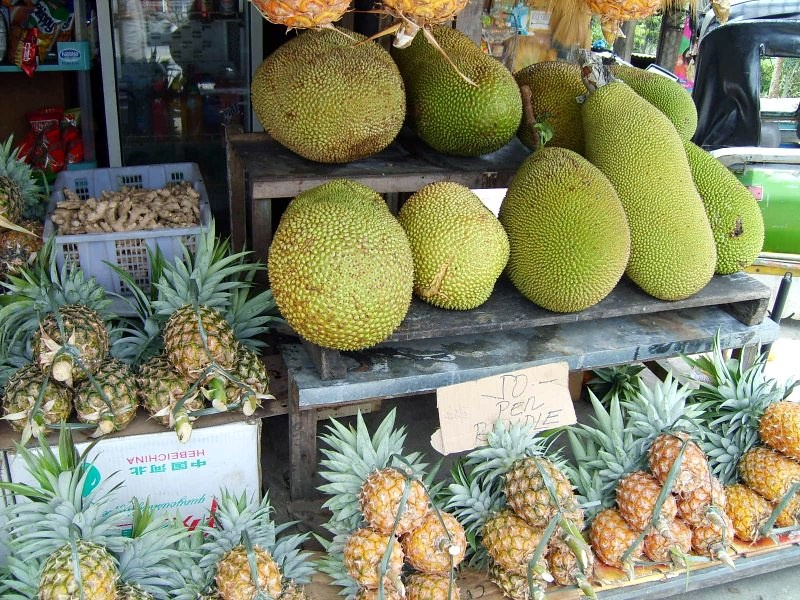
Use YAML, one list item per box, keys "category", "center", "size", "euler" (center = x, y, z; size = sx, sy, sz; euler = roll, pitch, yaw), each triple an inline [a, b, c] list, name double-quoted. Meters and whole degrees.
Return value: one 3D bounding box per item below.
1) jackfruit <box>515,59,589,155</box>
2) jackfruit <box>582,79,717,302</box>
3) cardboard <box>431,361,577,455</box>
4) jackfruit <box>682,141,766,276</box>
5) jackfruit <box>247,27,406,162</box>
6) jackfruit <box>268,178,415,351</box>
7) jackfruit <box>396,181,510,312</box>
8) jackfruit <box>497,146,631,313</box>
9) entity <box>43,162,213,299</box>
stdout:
- category: "jackfruit"
  center: [0.497, -0.636, 2.189]
  size: [0.336, 0.209, 0.287]
  euler: [-4, 1, -14]
- category: "jackfruit"
  center: [0.725, -0.318, 2.045]
  size: [0.284, 0.647, 0.331]
  euler: [-30, -7, 33]
- category: "cardboard"
  center: [0.274, 0.284, 1.746]
  size: [0.317, 0.155, 0.014]
  euler: [-14, 11, -12]
- category: "jackfruit"
  center: [1.011, -0.298, 2.163]
  size: [0.196, 0.420, 0.225]
  euler: [-33, -20, 8]
- category: "jackfruit"
  center: [-0.230, -0.629, 1.952]
  size: [0.516, 0.358, 0.300]
  euler: [5, -21, -24]
- category: "jackfruit"
  center: [-0.156, -0.090, 1.710]
  size: [0.372, 0.341, 0.413]
  euler: [7, 38, -35]
- category: "jackfruit"
  center: [0.093, -0.139, 1.731]
  size: [0.310, 0.268, 0.360]
  euler: [-1, 7, -4]
- category: "jackfruit"
  center: [0.457, -0.197, 1.847]
  size: [0.252, 0.405, 0.312]
  euler: [-16, 29, -36]
- category: "entity"
  center: [-0.948, -0.272, 2.377]
  size: [0.577, 0.221, 0.712]
  euler: [-6, 27, -11]
